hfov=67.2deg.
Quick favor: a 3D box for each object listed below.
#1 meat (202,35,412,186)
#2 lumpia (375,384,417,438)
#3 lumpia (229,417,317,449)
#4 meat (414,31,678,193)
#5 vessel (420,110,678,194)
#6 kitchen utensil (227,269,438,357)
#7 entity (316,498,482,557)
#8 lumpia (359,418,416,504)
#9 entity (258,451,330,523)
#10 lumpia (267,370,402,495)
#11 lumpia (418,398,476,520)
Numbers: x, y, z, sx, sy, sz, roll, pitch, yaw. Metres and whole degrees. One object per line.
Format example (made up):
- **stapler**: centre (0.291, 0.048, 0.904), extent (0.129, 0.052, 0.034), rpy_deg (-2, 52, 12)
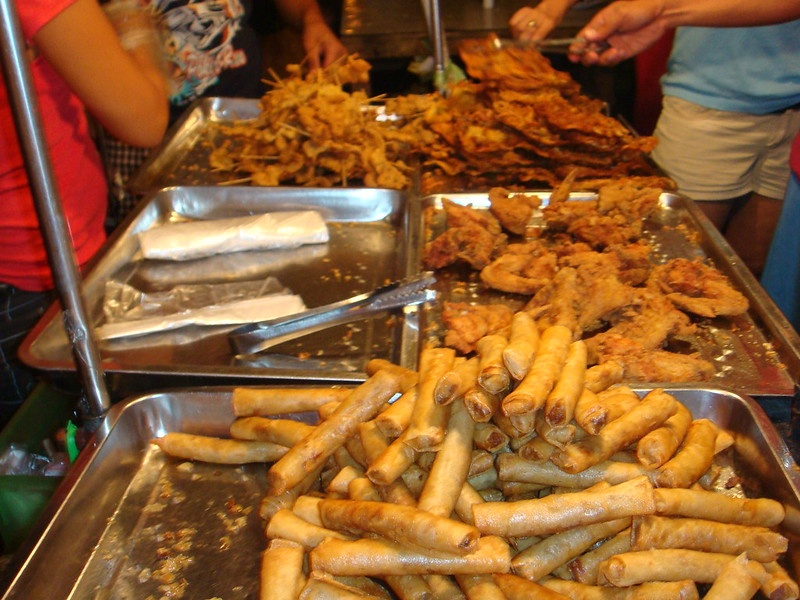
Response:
- **meat**: centre (-0.449, -0.821, 2.864), extent (0.914, 0.286, 0.720), rpy_deg (6, 53, 3)
- **lumpia**: centre (-0.009, 0.273, 1.473), extent (0.066, 0.045, 0.128), rpy_deg (16, 29, 14)
- **lumpia**: centre (-0.329, 0.337, 1.556), extent (0.249, 0.062, 0.066), rpy_deg (0, 50, 30)
- **meat**: centre (0.698, -0.876, 3.304), extent (1.352, 1.592, 0.434), rpy_deg (18, 90, 28)
- **vessel**: centre (0.580, -0.722, 2.858), extent (0.694, 0.343, 1.149), rpy_deg (1, 21, -28)
- **kitchen utensil**: centre (-0.232, 0.054, 2.121), extent (0.762, 0.105, 0.129), rpy_deg (-14, 71, -9)
- **entity**: centre (0.000, 0.484, 1.267), extent (0.344, 0.080, 0.069), rpy_deg (6, 26, 24)
- **lumpia**: centre (-0.026, 0.376, 1.386), extent (0.067, 0.051, 0.205), rpy_deg (5, 34, -22)
- **entity**: centre (-0.285, 0.438, 1.500), extent (0.060, 0.208, 0.055), rpy_deg (26, 89, 4)
- **lumpia**: centre (-0.150, 0.314, 1.510), extent (0.080, 0.081, 0.449), rpy_deg (32, 51, 26)
- **lumpia**: centre (0.102, 0.366, 1.362), extent (0.089, 0.071, 0.309), rpy_deg (3, 38, 23)
